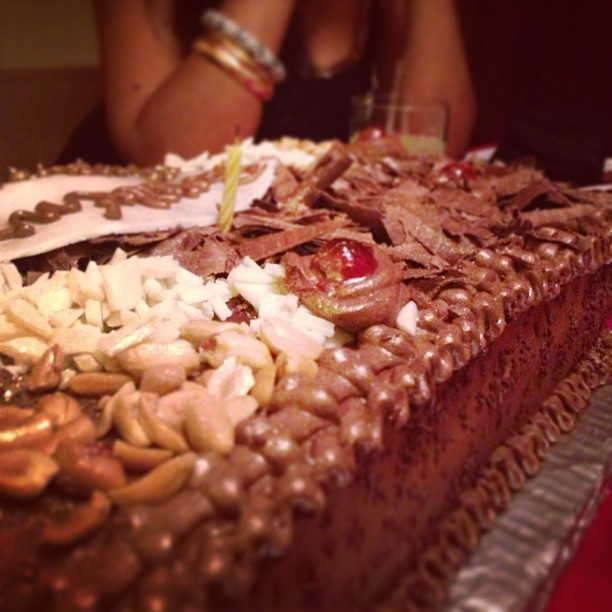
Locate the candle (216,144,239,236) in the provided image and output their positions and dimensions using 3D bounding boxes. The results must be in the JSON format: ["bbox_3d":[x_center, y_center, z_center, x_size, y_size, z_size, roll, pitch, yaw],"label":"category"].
[{"bbox_3d":[-0.115,-0.191,0.996,0.038,0.134,0.032,8,7,20],"label":"candle"}]

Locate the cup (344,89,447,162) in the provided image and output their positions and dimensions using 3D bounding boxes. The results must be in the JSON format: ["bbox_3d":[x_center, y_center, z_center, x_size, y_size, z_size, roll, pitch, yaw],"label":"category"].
[{"bbox_3d":[0.222,-0.439,1.635,0.265,0.200,0.201,-7,18,-8],"label":"cup"}]

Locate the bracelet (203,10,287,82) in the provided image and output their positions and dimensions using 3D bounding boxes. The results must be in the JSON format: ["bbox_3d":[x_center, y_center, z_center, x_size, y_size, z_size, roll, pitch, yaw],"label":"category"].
[{"bbox_3d":[-0.098,-0.439,1.089,0.096,0.023,0.072,30,-13,-15],"label":"bracelet"}]
